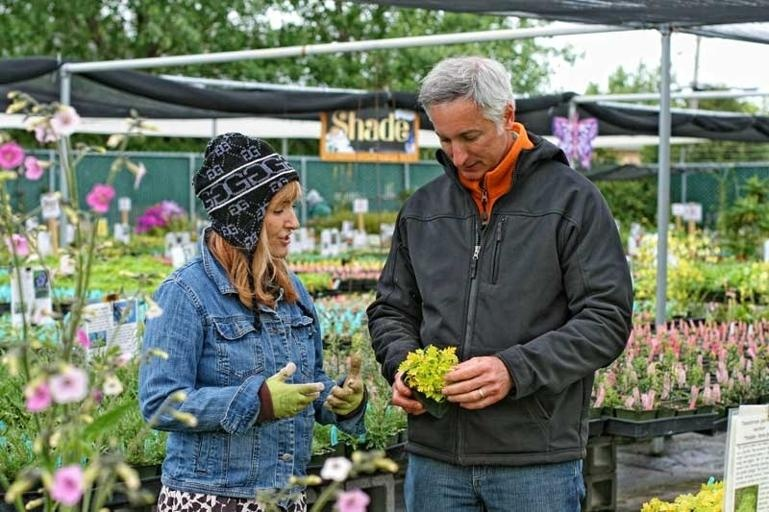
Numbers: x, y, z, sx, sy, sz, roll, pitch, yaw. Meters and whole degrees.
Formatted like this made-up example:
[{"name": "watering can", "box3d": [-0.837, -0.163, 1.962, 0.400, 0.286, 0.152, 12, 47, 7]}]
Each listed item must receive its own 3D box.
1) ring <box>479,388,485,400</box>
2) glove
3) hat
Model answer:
[{"name": "ring", "box3d": [0.736, 1.031, 9.631, 0.014, 0.063, 0.059, -3, 0, -11]}, {"name": "glove", "box3d": [-0.519, 0.969, 9.658, 0.653, 0.394, 0.409, 2, 6, -31]}, {"name": "hat", "box3d": [-1.031, -0.531, 9.908, 0.837, 0.913, 0.742, -11, 10, -30]}]
